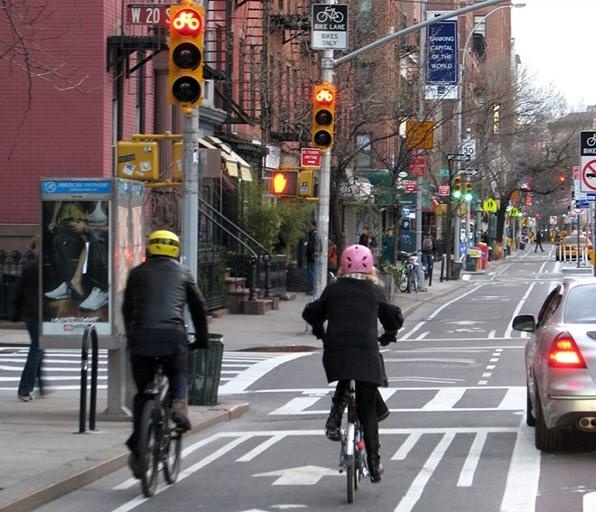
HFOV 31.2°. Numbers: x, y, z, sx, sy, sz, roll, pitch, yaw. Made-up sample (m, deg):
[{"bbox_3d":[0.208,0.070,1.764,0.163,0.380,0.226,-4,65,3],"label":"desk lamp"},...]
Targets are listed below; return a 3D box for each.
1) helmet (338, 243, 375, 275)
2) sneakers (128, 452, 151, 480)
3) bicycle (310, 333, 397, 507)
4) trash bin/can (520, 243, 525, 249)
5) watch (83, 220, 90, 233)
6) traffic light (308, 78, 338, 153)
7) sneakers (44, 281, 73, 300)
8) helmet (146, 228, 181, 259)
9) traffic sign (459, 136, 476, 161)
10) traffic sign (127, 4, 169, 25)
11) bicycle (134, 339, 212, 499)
[{"bbox_3d":[0.527,0.047,9.540,0.212,0.307,0.217,1,-6,8],"label":"helmet"},{"bbox_3d":[-1.381,1.805,9.146,0.162,0.205,0.223,1,-26,-2],"label":"sneakers"},{"bbox_3d":[0.467,1.625,9.078,0.563,0.772,1.194,1,6,3],"label":"bicycle"},{"bbox_3d":[22.617,-1.076,107.275,0.621,0.769,0.654,3,5,8],"label":"trash bin/can"},{"bbox_3d":[-2.441,-0.345,12.255,0.080,0.123,0.041,4,-3,0],"label":"watch"},{"bbox_3d":[0.492,-2.811,20.967,0.441,1.010,0.521,-1,-1,5],"label":"traffic light"},{"bbox_3d":[-2.759,0.402,12.288,0.323,0.240,0.149,4,4,-5],"label":"sneakers"},{"bbox_3d":[-1.254,-0.123,9.893,0.288,0.246,0.233,-3,-2,-2],"label":"helmet"},{"bbox_3d":[6.909,-4.440,43.572,0.559,0.813,2.016,-1,-1,9],"label":"traffic sign"},{"bbox_3d":[-3.306,-5.321,23.259,0.917,0.546,0.540,-1,-1,-10],"label":"traffic sign"},{"bbox_3d":[-1.216,1.591,9.391,0.560,0.825,1.286,1,4,2],"label":"bicycle"}]
